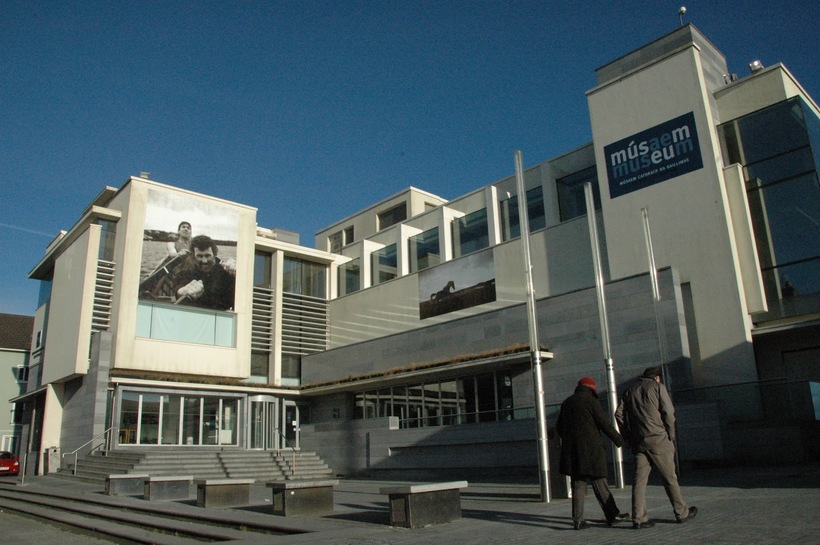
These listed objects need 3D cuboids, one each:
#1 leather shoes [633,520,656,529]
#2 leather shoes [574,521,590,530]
[{"bbox_3d":[4.765,5.096,13.258,0.625,0.148,0.235,14,-24,-41],"label":"leather shoes"},{"bbox_3d":[3.535,5.188,13.459,0.390,0.164,0.124,3,-20,-18],"label":"leather shoes"}]
